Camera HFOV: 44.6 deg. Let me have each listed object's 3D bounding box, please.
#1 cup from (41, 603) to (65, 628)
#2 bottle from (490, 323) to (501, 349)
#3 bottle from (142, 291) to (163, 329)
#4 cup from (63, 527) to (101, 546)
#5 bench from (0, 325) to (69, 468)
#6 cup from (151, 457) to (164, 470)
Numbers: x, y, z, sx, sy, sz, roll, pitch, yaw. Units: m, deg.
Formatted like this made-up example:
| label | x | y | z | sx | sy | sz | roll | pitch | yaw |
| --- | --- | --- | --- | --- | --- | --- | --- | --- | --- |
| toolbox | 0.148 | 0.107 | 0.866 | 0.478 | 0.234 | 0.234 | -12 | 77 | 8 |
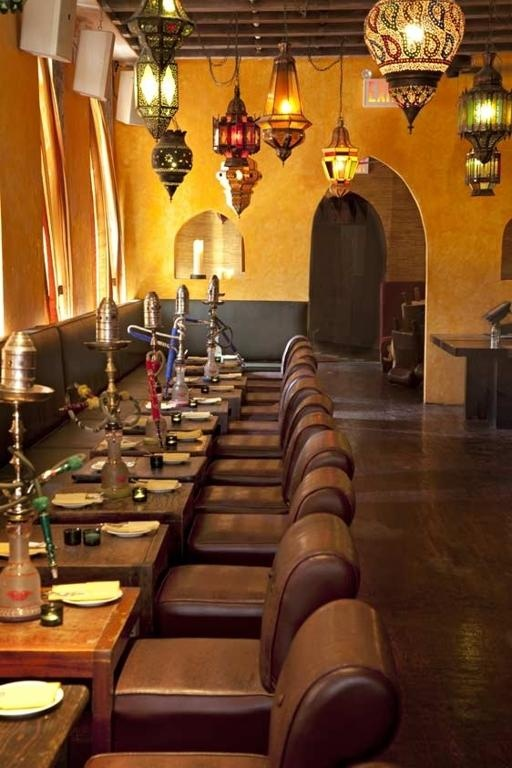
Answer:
| label | x | y | z | sx | sy | sz | roll | pitch | yaw |
| --- | --- | --- | --- | --- | --- | --- | --- | --- | --- |
| cup | -0.471 | 0.537 | 1.463 | 0.036 | 0.036 | 0.043 | 4 | 8 | 17 |
| bottle | 2.857 | -0.583 | 7.483 | 0.118 | 0.287 | 0.741 | 2 | 8 | 21 |
| bottle | -0.642 | -0.452 | 3.909 | 0.089 | 0.242 | 0.406 | -2 | 7 | -11 |
| cup | -0.574 | 0.499 | 2.077 | 0.105 | 0.051 | 0.058 | 1 | 2 | 1 |
| bench | -1.162 | 0.093 | 3.327 | 0.271 | 0.373 | 0.935 | -2 | 22 | -8 |
| cup | -0.466 | 0.374 | 3.003 | 0.057 | 0.061 | 0.059 | 4 | 4 | 0 |
